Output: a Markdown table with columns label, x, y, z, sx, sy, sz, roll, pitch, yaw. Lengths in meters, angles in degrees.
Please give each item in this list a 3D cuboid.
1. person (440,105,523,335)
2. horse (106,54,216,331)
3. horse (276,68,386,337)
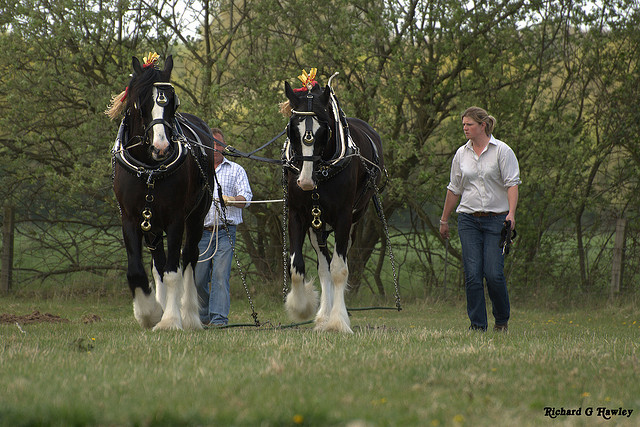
| label | x | y | z | sx | sy | sz | roll | pitch | yaw |
| --- | --- | --- | --- | --- | --- | --- | --- | --- | --- |
| person | 2.623 | 0.081 | 15.335 | 1.046 | 3.526 | 0.708 | 2 | 10 | 11 |
| horse | -2.474 | -0.323 | 15.329 | 1.201 | 4.391 | 1.734 | 4 | 10 | 21 |
| horse | 0.102 | -0.167 | 15.688 | 1.255 | 4.357 | 2.417 | 4 | 10 | 20 |
